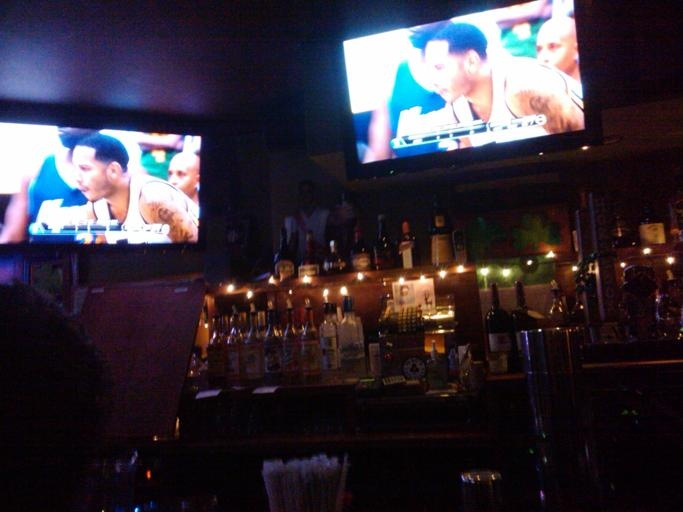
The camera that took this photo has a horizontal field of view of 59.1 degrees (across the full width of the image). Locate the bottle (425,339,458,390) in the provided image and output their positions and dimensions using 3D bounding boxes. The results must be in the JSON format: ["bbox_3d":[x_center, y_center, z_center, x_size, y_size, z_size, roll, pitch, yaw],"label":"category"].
[{"bbox_3d":[0.470,0.496,2.774,0.170,0.342,0.190,-2,-13,12],"label":"bottle"}]

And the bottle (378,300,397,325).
[{"bbox_3d":[0.241,0.287,3.109,0.073,0.153,0.047,1,-47,21],"label":"bottle"}]
